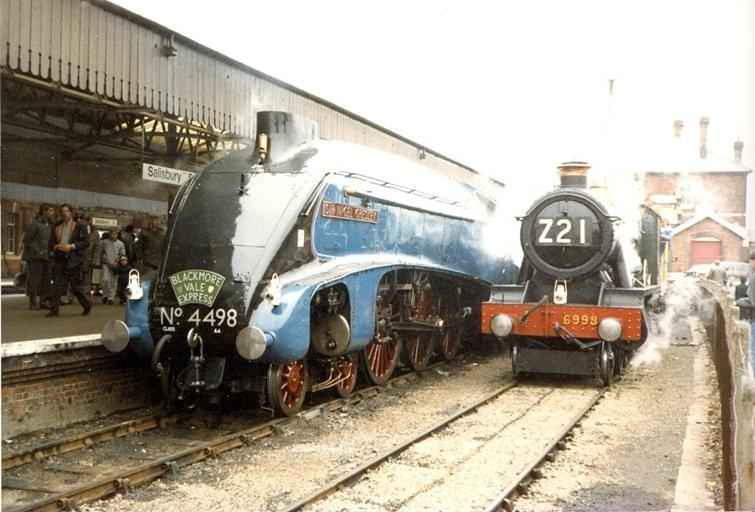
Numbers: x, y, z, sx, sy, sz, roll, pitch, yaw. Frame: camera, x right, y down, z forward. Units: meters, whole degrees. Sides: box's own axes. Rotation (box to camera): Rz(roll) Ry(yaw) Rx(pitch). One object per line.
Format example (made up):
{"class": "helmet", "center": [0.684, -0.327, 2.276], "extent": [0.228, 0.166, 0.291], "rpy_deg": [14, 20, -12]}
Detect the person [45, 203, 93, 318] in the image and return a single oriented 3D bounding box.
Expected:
{"class": "person", "center": [-5.998, 0.103, 12.045], "extent": [0.796, 2.175, 0.722], "rpy_deg": [2, 3, -1]}

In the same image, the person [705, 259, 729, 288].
{"class": "person", "center": [10.707, 0.501, 19.450], "extent": [0.524, 0.755, 1.908], "rpy_deg": [3, 3, 28]}

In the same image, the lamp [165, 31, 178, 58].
{"class": "lamp", "center": [-3.950, -3.993, 11.748], "extent": [0.300, 0.457, 0.179], "rpy_deg": [0, 3, -36]}
